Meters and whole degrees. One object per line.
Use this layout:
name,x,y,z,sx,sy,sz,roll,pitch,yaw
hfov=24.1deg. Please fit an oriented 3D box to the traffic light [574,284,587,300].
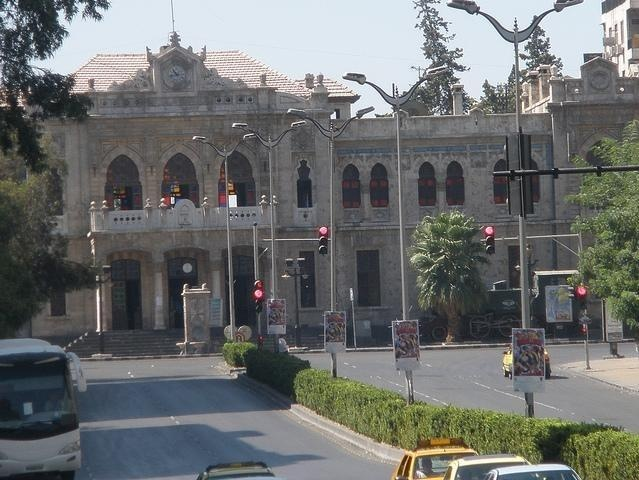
traffic light,15.044,2.867,86.136,0.794,0.860,0.838,-2,4,9

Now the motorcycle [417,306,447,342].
motorcycle,7.563,5.643,99.554,2.081,1.055,1.497,-3,2,-1
